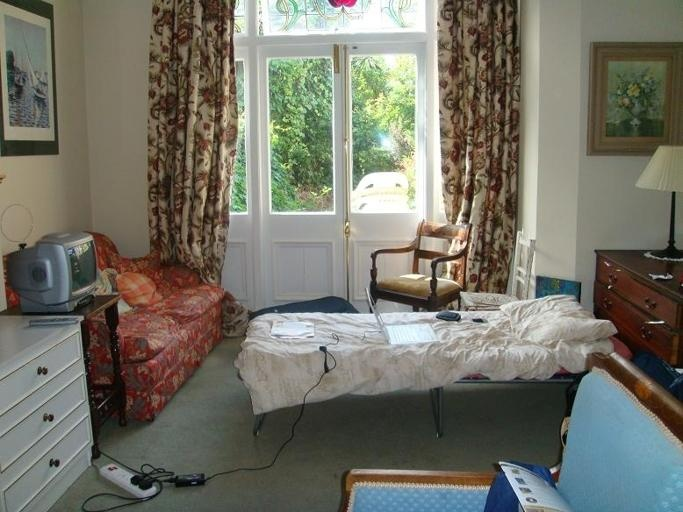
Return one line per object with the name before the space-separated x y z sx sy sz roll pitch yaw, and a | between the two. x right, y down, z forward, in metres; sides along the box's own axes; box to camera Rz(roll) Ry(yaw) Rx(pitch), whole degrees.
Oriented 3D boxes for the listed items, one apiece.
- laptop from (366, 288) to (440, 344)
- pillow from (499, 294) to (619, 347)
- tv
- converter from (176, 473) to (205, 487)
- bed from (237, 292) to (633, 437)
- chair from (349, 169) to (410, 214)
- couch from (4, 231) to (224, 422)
laptop | 0.408 0.416 3.440 0.327 0.227 0.367 -6 13 -3
pillow | 1.363 0.412 3.453 0.381 0.115 0.446 -16 14 -5
tv | -1.566 0.046 3.045 0.377 0.437 0.461 3 7 4
converter | -0.798 1.177 2.832 0.091 0.027 0.070 0 5 -6
bed | 0.562 0.568 3.323 1.878 0.653 1.111 0 11 0
chair | 0.380 -0.559 5.178 0.500 0.392 0.515 -1 -6 3
couch | -1.463 0.503 3.906 1.025 1.209 1.858 -2 20 -7
